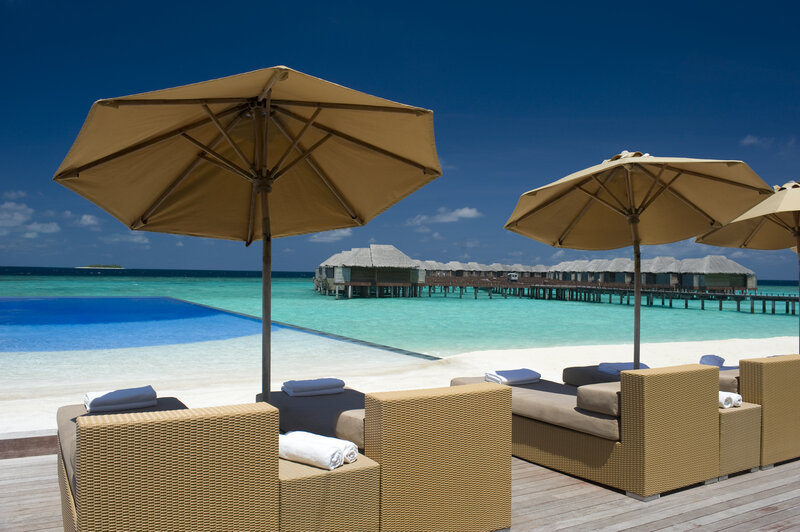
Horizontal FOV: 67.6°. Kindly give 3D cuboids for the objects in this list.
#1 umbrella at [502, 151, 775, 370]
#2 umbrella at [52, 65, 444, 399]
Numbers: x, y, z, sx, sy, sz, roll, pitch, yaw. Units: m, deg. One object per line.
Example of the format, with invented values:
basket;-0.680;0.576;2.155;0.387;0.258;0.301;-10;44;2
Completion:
umbrella;2.925;-0.247;7.854;3.416;2.441;3.234;-1;-2;29
umbrella;-1.409;-0.432;6.677;4.423;2.296;3.877;-2;-2;-5
